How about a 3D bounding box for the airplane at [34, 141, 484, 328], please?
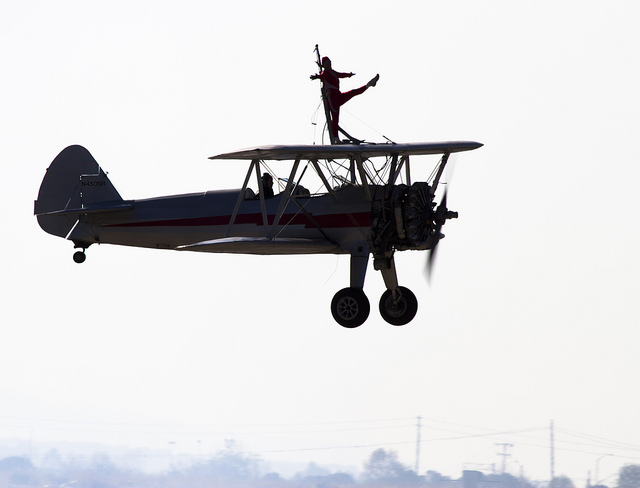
[{"bbox_3d":[-2.117,-0.231,34.285,10.890,4.459,13.681,0,-2,16],"label":"airplane"}]
